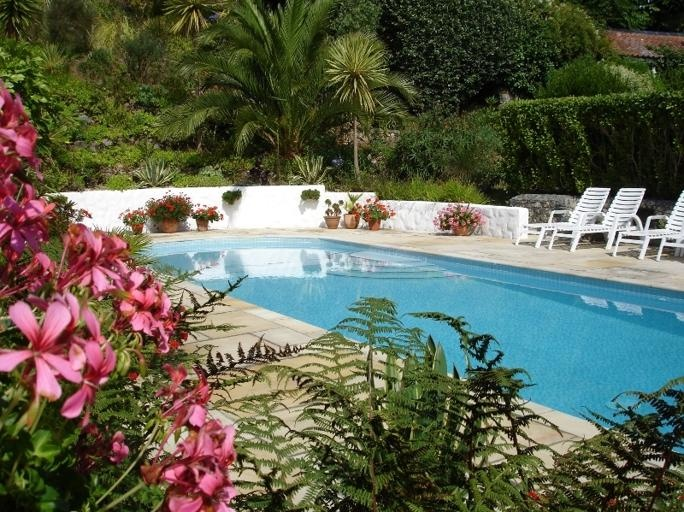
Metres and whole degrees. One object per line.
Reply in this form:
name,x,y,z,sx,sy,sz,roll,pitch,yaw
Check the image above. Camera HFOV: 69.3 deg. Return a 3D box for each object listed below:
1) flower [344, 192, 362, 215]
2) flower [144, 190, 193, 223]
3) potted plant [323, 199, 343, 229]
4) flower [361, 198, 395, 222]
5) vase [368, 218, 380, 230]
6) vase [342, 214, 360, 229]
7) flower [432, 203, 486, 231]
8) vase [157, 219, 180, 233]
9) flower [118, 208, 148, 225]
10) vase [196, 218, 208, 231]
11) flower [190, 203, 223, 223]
flower,0.401,-1.619,15.507,0.617,0.839,0.591,-1,-6,18
flower,-5.024,-1.382,14.469,0.909,0.721,0.991,-2,0,-2
potted plant,-0.266,-1.324,15.447,0.555,0.894,0.465,1,15,-2
flower,1.025,-1.358,14.761,0.730,0.591,0.730,-1,10,-11
vase,0.952,-0.947,14.675,0.284,0.232,0.300,0,-2,0
vase,0.290,-1.092,15.350,0.507,0.449,0.569,2,16,0
flower,3.061,-0.992,12.711,1.197,0.720,0.347,7,16,16
vase,-5.046,-0.863,14.521,0.419,0.285,0.445,-2,-5,9
flower,-5.971,-1.137,14.267,0.649,0.351,0.813,-8,19,-32
vase,-4.255,-0.945,14.997,0.332,0.282,0.340,-1,-2,6
flower,-4.104,-1.298,15.107,0.576,0.399,0.543,1,4,1
